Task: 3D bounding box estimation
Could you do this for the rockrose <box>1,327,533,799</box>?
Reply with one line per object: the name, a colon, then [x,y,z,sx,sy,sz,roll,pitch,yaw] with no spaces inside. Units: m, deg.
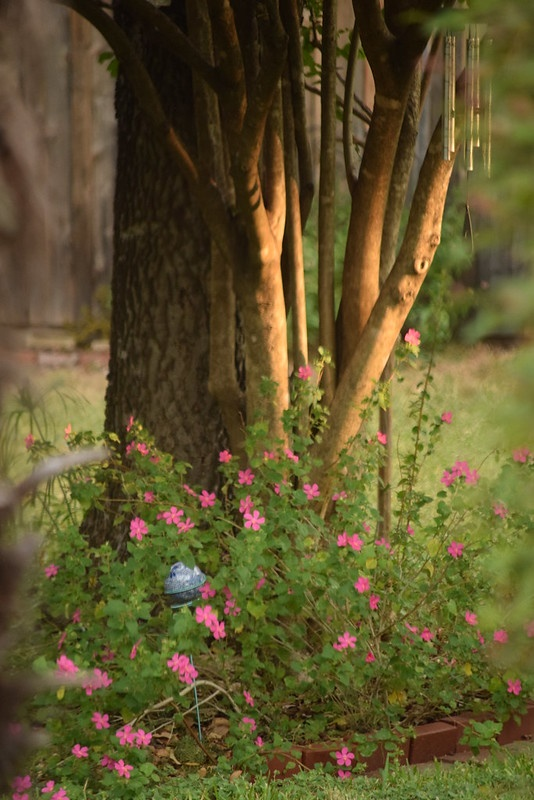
rockrose: [-0.043,0.530,2.580,1.589,1.084,0.932,-5,22,-31]
